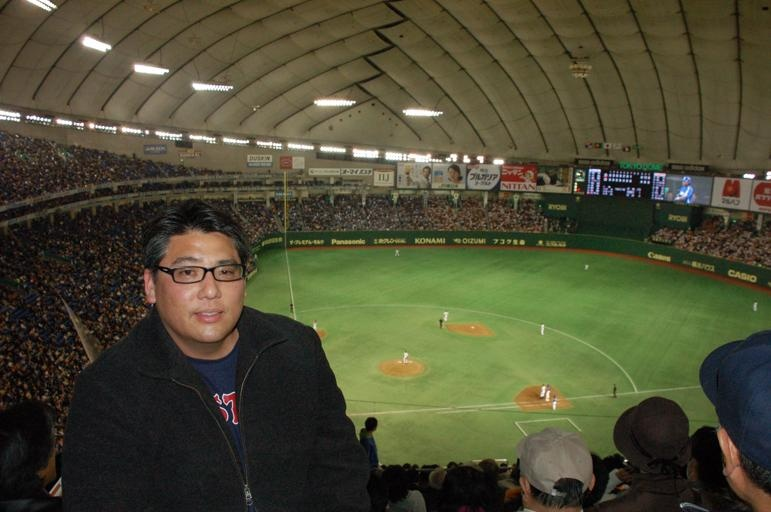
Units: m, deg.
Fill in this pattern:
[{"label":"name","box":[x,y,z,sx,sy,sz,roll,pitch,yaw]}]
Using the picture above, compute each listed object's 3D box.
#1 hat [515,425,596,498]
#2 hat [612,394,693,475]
[{"label":"hat","box":[1.652,1.993,5.051,0.574,0.293,0.733,-6,15,-2]},{"label":"hat","box":[2.849,1.828,5.317,0.834,0.849,0.455,-9,-38,11]}]
